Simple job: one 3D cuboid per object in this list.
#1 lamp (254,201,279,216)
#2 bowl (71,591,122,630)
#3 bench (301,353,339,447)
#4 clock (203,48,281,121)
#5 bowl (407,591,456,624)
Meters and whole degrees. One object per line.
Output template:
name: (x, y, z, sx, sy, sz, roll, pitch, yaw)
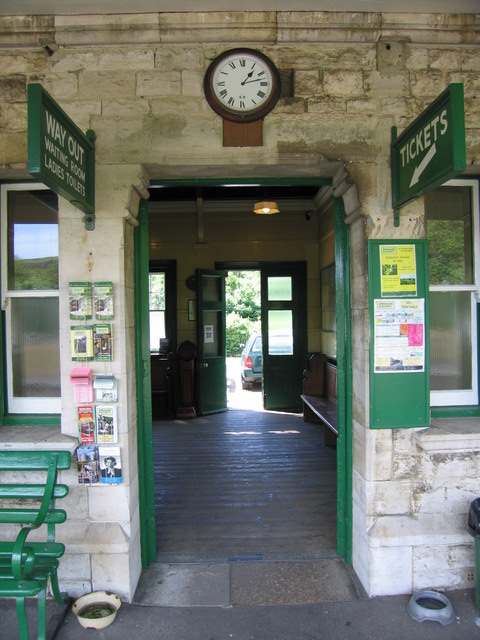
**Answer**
lamp: (0.275, -1.161, 6.903, 0.225, 0.139, 0.248, 3, 1, 4)
bowl: (-0.735, 1.490, 3.414, 0.253, 0.096, 0.212, -2, 6, -12)
bench: (0.827, 0.796, 6.970, 0.348, 0.889, 2.306, 0, 6, 6)
clock: (0.010, -1.215, 3.581, 0.351, 0.422, 0.382, 0, 10, 2)
bowl: (0.988, 1.484, 3.419, 0.223, 0.089, 0.168, 2, 6, 18)
